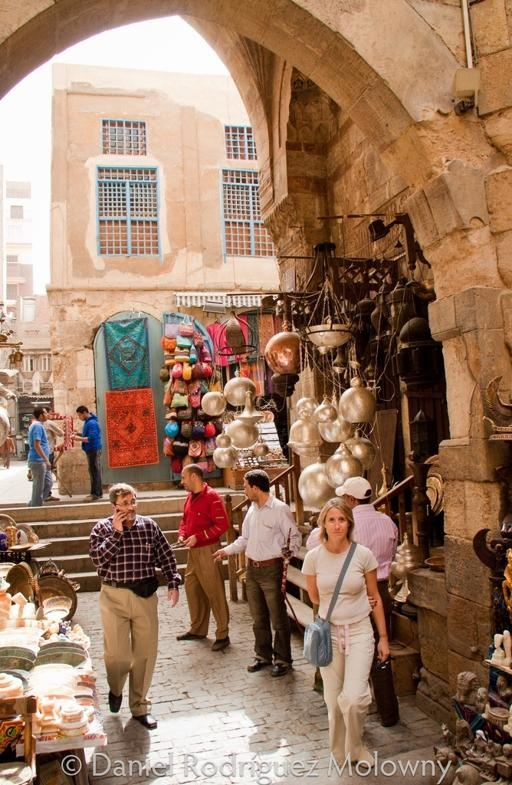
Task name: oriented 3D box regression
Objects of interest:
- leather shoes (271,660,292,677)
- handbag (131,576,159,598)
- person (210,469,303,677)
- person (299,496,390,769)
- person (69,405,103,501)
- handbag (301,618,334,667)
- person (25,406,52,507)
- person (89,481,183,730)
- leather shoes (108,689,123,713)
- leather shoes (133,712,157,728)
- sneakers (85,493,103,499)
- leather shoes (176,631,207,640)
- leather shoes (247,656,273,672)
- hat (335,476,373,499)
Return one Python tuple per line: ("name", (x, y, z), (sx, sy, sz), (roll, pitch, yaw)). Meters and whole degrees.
("leather shoes", (0.189, 2.038, 4.746), (0.127, 0.082, 0.201), (-6, -7, 12))
("handbag", (-0.702, 1.201, 3.976), (0.114, 0.052, 0.136), (1, -2, 33))
("person", (0.062, 1.368, 4.999), (0.374, 1.503, 0.615), (2, -9, -39))
("person", (0.450, 1.183, 3.187), (0.384, 1.294, 0.310), (-5, -7, 7))
("person", (-2.705, 0.964, 10.387), (0.368, 1.575, 0.935), (-2, -7, -15))
("handbag", (0.305, 1.232, 3.156), (0.138, 0.213, 0.106), (-4, -7, 3))
("person", (-3.311, 0.991, 9.760), (0.311, 1.473, 1.095), (-2, -7, -18))
("person", (-0.752, 1.302, 3.999), (0.517, 1.450, 0.370), (-3, -7, -9))
("leather shoes", (-0.884, 1.953, 4.024), (0.082, 0.164, 0.070), (-3, 5, -22))
("leather shoes", (-0.676, 1.975, 3.872), (0.056, 0.060, 0.152), (10, -14, -41))
("sneakers", (-2.629, 1.705, 10.360), (0.287, 0.117, 0.121), (6, -3, -15))
("leather shoes", (-0.590, 2.233, 5.899), (0.280, 0.107, 0.093), (8, -17, -4))
("leather shoes", (0.026, 2.090, 4.909), (0.196, 0.082, 0.071), (7, -11, -28))
("hat", (0.609, 0.577, 3.987), (0.185, 0.108, 0.130), (9, 10, 29))
